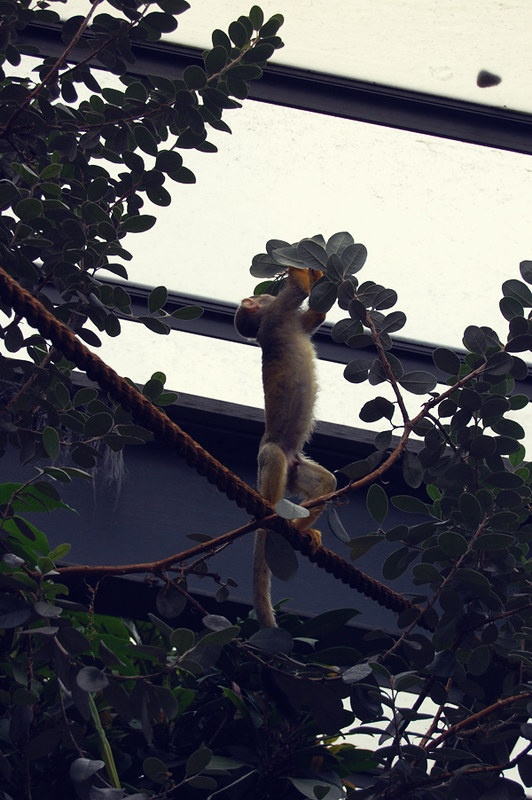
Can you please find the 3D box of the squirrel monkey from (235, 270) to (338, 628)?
[{"bbox_3d":[0.007,0.105,4.310,0.444,0.851,0.276,-3,-14,-2],"label":"squirrel monkey"}]

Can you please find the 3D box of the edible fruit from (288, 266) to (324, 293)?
[{"bbox_3d":[0.113,-0.340,4.278,0.093,0.101,0.043,4,-4,-16],"label":"edible fruit"}]
